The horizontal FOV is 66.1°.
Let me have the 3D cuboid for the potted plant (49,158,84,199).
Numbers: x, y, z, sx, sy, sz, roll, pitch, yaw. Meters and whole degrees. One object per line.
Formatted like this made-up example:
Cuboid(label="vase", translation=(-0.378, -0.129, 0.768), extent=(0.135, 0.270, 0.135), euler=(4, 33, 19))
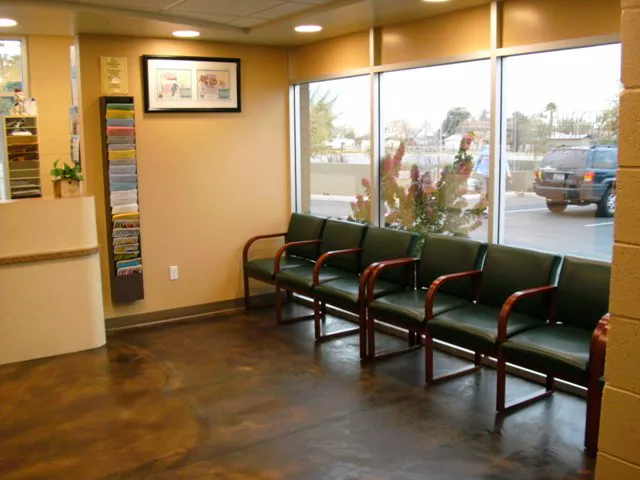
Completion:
Cuboid(label="potted plant", translation=(-2.556, -0.599, 4.961), extent=(0.303, 0.339, 0.250), euler=(-2, 13, -3))
